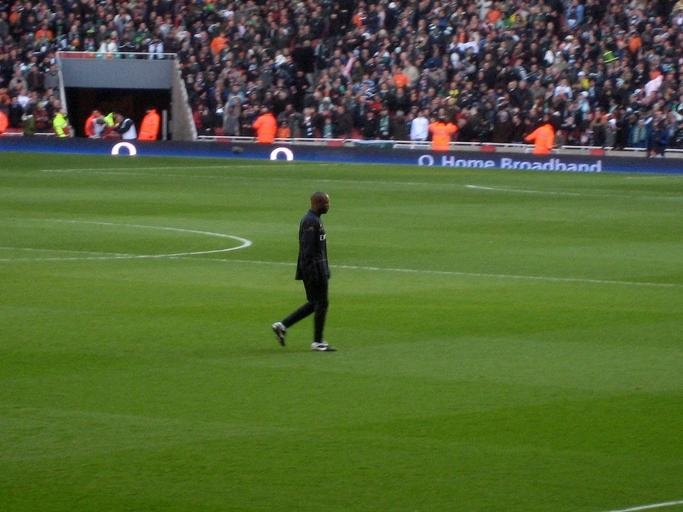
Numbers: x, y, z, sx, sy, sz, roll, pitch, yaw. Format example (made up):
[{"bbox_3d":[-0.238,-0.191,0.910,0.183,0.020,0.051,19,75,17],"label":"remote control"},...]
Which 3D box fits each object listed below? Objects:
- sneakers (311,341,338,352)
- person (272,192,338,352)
[{"bbox_3d":[-0.289,1.493,27.929,0.428,0.146,0.145,2,8,-6],"label":"sneakers"},{"bbox_3d":[-0.520,0.277,27.656,0.936,2.569,0.450,2,10,-3],"label":"person"}]
